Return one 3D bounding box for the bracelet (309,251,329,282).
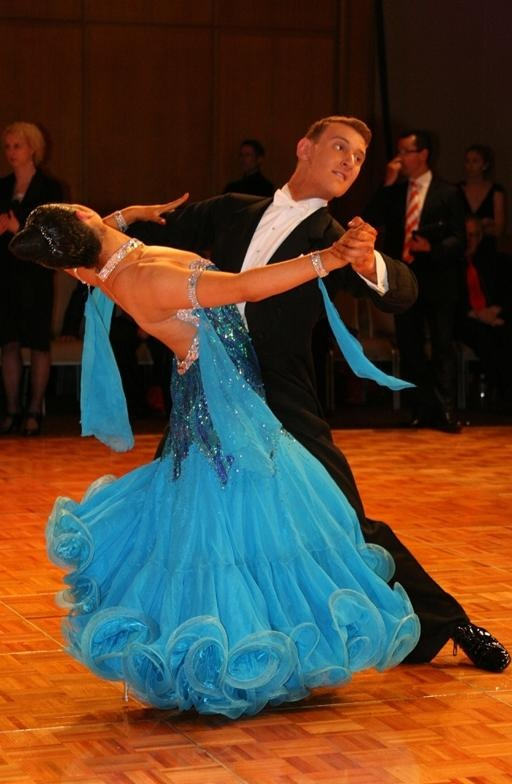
[{"bbox_3d":[0.110,-0.202,1.208,0.015,0.036,0.034,-23,39,-3],"label":"bracelet"}]

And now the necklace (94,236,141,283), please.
[{"bbox_3d":[-0.258,-0.241,1.402,0.080,0.019,0.074,-37,9,36],"label":"necklace"}]

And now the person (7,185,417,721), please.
[{"bbox_3d":[-0.118,0.160,1.956,1.011,1.287,1.141,-5,6,-26],"label":"person"}]

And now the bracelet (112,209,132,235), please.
[{"bbox_3d":[-0.313,-0.420,1.809,0.033,0.051,0.052,-31,45,-16],"label":"bracelet"}]
